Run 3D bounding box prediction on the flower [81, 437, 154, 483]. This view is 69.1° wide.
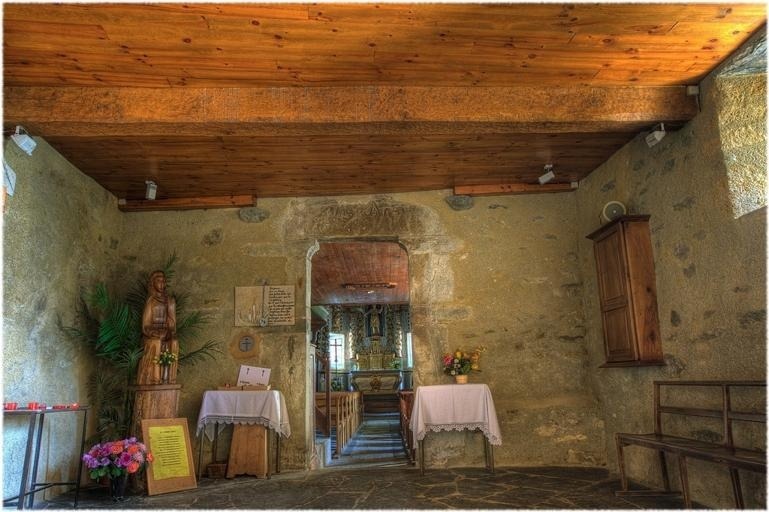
[{"bbox_3d":[-3.131,2.323,6.639,0.720,0.360,0.624,3,-4,-5],"label":"flower"}]

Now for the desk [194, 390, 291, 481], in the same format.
[{"bbox_3d":[-1.639,2.489,7.964,2.053,1.166,1.751,-1,-15,0],"label":"desk"}]

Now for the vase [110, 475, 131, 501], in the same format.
[{"bbox_3d":[-3.082,2.650,6.502,0.181,0.324,0.227,-1,-9,-12],"label":"vase"}]

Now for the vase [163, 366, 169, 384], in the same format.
[{"bbox_3d":[-2.835,1.558,7.292,0.036,0.184,0.084,-6,-9,18],"label":"vase"}]

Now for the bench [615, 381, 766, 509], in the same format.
[{"bbox_3d":[3.200,1.979,5.778,0.679,0.840,1.494,11,-18,-10],"label":"bench"}]

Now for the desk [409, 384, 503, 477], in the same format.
[{"bbox_3d":[0.916,2.202,7.755,1.776,1.195,1.226,-1,-6,4],"label":"desk"}]

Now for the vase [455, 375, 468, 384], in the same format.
[{"bbox_3d":[1.079,1.729,7.799,0.151,0.070,0.135,-5,-12,18],"label":"vase"}]

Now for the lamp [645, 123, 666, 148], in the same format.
[{"bbox_3d":[3.145,-1.391,6.476,0.129,0.149,0.229,14,-22,-27],"label":"lamp"}]

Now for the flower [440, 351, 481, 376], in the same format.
[{"bbox_3d":[1.093,1.537,7.935,0.547,0.359,0.254,-2,-8,3],"label":"flower"}]

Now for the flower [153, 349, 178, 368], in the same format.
[{"bbox_3d":[-2.848,1.335,7.292,0.265,0.189,0.223,5,-5,-11],"label":"flower"}]

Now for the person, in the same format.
[{"bbox_3d":[-2.955,0.927,7.322,0.477,1.473,0.338,0,-9,-20],"label":"person"}]

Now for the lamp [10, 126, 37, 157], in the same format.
[{"bbox_3d":[-4.022,-1.274,6.224,0.251,0.118,0.308,-22,-23,-13],"label":"lamp"}]

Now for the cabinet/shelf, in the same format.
[{"bbox_3d":[2.960,0.448,6.916,0.377,1.856,0.846,0,-9,-18],"label":"cabinet/shelf"}]
